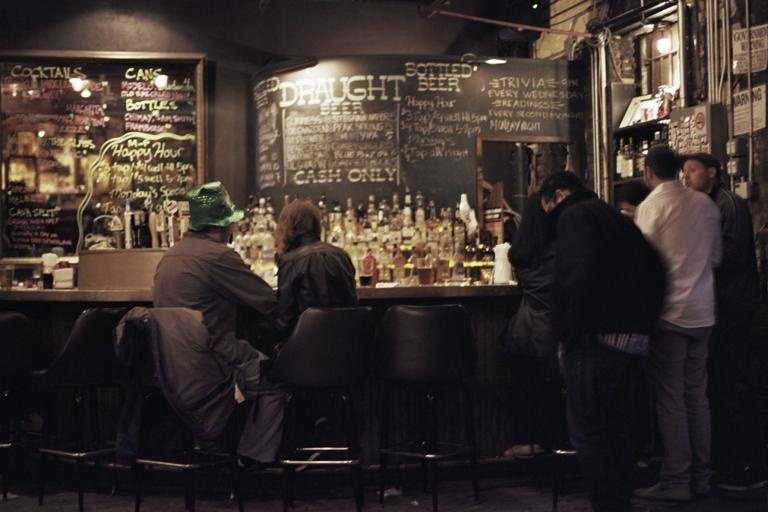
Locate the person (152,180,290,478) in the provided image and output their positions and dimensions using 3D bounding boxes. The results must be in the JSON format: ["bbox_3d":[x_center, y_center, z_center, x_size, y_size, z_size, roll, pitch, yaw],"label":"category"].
[{"bbox_3d":[-1.154,0.494,6.682,0.888,2.051,0.402,-1,-1,-13],"label":"person"}]

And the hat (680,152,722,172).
[{"bbox_3d":[2.453,-0.746,7.261,0.221,0.068,0.152,14,1,2],"label":"hat"}]

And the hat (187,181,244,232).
[{"bbox_3d":[-1.233,-0.360,6.854,0.371,0.240,0.357,-20,16,-19],"label":"hat"}]
